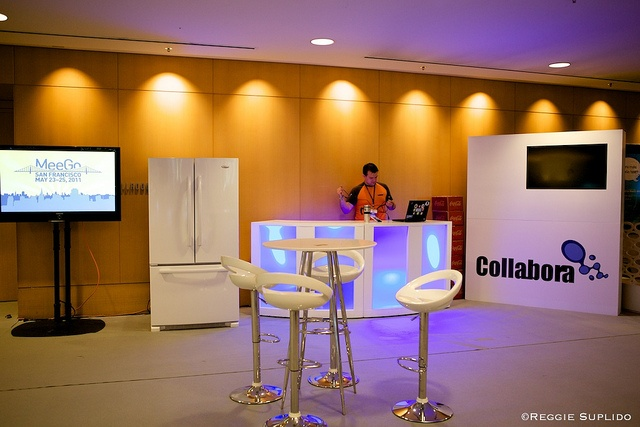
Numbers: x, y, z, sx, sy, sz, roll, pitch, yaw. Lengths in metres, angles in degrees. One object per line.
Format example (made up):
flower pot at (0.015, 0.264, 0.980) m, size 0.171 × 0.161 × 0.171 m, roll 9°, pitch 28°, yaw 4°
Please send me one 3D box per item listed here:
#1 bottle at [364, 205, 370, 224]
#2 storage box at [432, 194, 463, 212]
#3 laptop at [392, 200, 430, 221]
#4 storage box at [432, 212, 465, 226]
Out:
bottle at (0.775, 0.003, 7.924) m, size 0.109 × 0.272 × 0.312 m, roll 1°, pitch 12°, yaw 7°
storage box at (2.292, -0.211, 8.648) m, size 0.342 × 0.204 × 0.340 m, roll 1°, pitch 3°, yaw 23°
laptop at (1.599, -0.045, 8.036) m, size 0.441 × 0.312 × 0.369 m, roll -2°, pitch 4°, yaw -20°
storage box at (2.322, 0.056, 8.677) m, size 0.331 × 0.199 × 0.328 m, roll 0°, pitch 1°, yaw -15°
